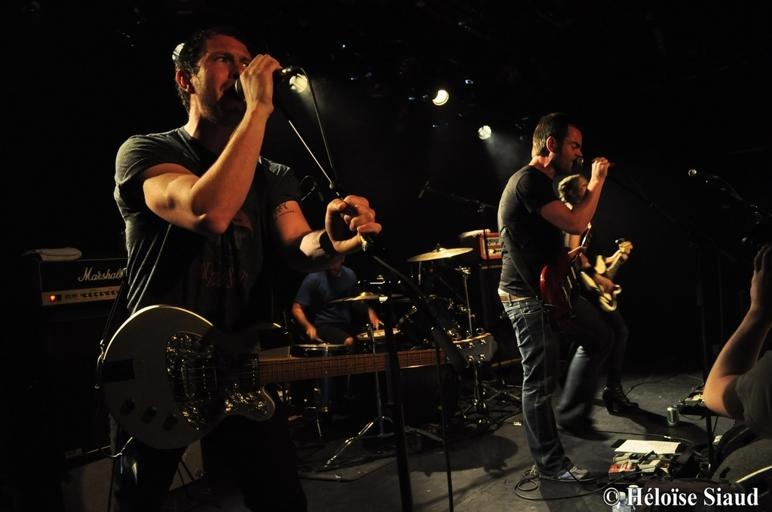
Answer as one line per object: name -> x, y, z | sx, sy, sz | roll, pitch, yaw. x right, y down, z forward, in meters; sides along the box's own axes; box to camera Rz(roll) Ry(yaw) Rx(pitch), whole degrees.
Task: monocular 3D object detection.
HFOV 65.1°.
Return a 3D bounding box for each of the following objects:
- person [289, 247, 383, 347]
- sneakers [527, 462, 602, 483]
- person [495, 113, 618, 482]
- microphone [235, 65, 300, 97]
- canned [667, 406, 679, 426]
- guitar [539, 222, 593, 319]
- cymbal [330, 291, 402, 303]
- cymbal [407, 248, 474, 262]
person -> -0.535, 0.589, 6.622 | 0.865, 0.962, 0.791 | -6, 14, -23
sneakers -> 1.339, 1.663, 4.547 | 0.510, 0.175, 0.183 | -8, -25, 17
person -> 1.348, 0.288, 4.640 | 0.734, 2.470, 0.913 | -5, 1, 34
microphone -> -0.611, -0.889, 3.064 | 0.308, 0.121, 0.193 | -10, -10, 13
canned -> 2.471, 1.376, 5.216 | 0.092, 0.145, 0.195 | -5, 0, 25
guitar -> 1.387, 0.165, 4.672 | 0.212, 0.574, 0.879 | -6, 0, 27
cymbal -> -0.184, 0.331, 4.805 | 0.250, 0.054, 0.247 | -7, -5, 20
cymbal -> 0.558, -0.015, 6.515 | 0.635, 0.149, 0.878 | -5, 0, 3
